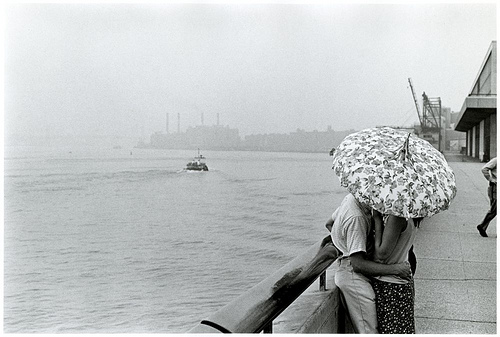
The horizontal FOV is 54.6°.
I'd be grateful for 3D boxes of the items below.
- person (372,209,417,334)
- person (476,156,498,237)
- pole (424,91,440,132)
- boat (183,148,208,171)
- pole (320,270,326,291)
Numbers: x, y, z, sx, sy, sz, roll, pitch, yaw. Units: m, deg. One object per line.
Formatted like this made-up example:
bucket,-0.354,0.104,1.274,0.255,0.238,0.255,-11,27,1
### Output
person,2.095,1.451,6.747,0.678,1.839,0.356,-4,3,-17
person,5.258,0.642,10.709,0.415,1.740,0.853,-2,3,25
pole,28.470,-8.334,75.140,0.534,7.141,0.785,-25,-21,17
boat,-12.051,-1.875,106.357,5.142,5.817,5.242,0,4,-43
pole,1.093,1.651,7.120,0.142,0.270,0.068,-6,4,-44
